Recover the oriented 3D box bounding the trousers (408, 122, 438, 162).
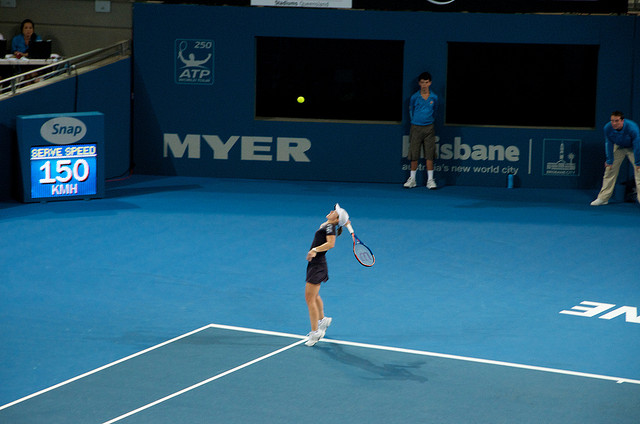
[{"bbox_3d":[2.751,-1.925,16.027,1.105,1.194,0.467,0,10,1],"label":"trousers"}]

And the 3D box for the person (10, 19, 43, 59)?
[{"bbox_3d":[-7.833,-4.527,16.101,0.784,1.203,0.717,1,2,-5],"label":"person"}]

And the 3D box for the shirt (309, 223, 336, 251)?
[{"bbox_3d":[0.052,0.369,8.586,0.201,0.471,0.496,27,-7,-8],"label":"shirt"}]

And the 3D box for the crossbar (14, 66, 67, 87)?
[{"bbox_3d":[-6.725,-3.351,14.583,0.848,0.498,1.341,0,10,2],"label":"crossbar"}]

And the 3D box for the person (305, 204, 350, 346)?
[{"bbox_3d":[0.041,0.808,7.961,0.586,1.853,0.376,-6,12,-28],"label":"person"}]

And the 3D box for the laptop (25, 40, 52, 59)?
[{"bbox_3d":[-7.355,-4.280,15.776,0.667,0.468,0.515,0,2,-3],"label":"laptop"}]
